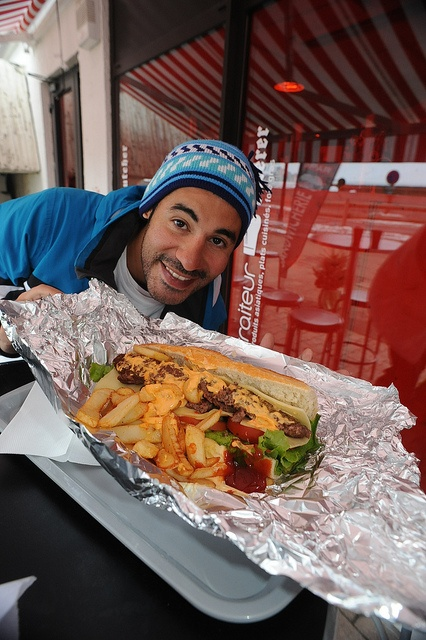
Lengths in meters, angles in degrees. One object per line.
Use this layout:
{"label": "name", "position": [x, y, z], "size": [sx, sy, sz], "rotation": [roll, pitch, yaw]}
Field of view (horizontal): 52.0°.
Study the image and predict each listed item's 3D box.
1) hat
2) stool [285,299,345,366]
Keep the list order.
{"label": "hat", "position": [0.025, -0.728, 2.399], "size": [0.411, 0.429, 0.538], "rotation": [24, 14, 12]}
{"label": "stool", "position": [0.790, 0.083, 3.455], "size": [0.397, 0.533, 0.439], "rotation": [0, 28, -4]}
